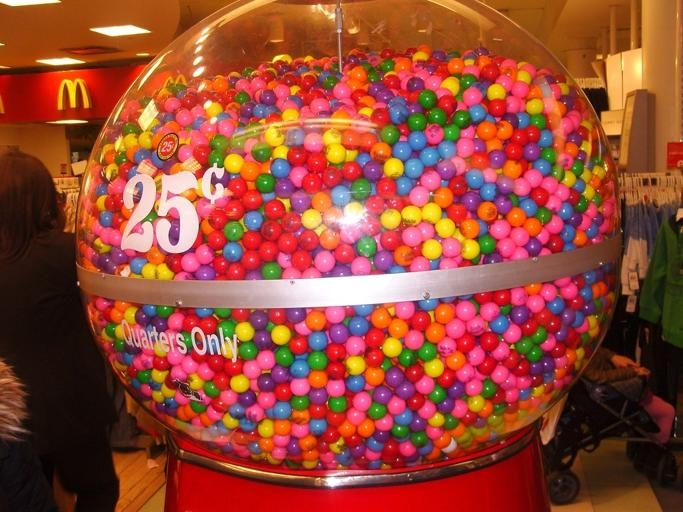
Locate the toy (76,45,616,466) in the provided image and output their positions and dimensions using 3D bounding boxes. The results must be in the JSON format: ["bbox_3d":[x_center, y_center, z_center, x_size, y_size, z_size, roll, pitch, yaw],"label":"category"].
[{"bbox_3d":[0.004,0.002,1.417,0.872,0.767,0.895,-3,4,-11],"label":"toy"}]
